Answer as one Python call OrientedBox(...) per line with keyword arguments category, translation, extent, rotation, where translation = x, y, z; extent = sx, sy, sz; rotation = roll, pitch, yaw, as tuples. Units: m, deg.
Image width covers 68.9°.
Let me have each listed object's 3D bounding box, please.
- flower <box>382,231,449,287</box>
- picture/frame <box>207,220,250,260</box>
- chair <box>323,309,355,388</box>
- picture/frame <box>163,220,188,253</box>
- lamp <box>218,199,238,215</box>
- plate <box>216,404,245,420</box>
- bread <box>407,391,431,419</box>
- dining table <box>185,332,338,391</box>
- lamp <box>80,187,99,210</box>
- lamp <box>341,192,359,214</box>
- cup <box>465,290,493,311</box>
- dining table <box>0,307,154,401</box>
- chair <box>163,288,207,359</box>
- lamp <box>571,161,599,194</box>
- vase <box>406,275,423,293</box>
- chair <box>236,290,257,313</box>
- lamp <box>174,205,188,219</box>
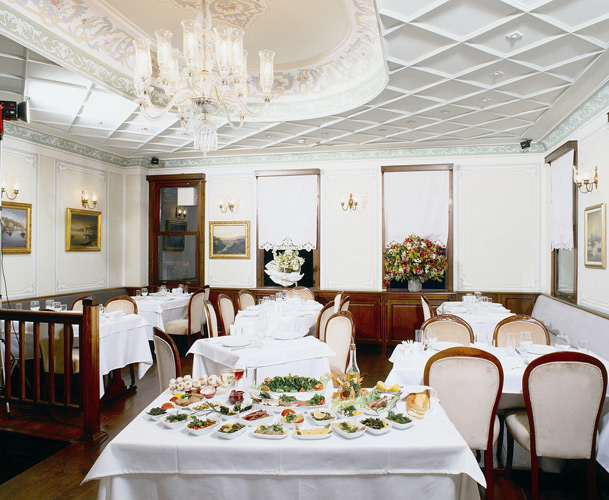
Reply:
OrientedBox(category="flower", translation=(1.940, 0.210, 8.052), extent=(0.890, 0.853, 0.970), rotation=(1, -5, -9))
OrientedBox(category="picture/frame", translation=(-1.493, -0.192, 8.847), extent=(0.718, 0.671, 0.052), rotation=(1, 2, 10))
OrientedBox(category="chair", translation=(0.403, 1.025, 4.833), extent=(0.410, 0.708, 0.416), rotation=(-3, -8, 10))
OrientedBox(category="picture/frame", translation=(-2.663, -0.292, 9.126), extent=(0.603, 0.900, 0.147), rotation=(1, -3, 8))
OrientedBox(category="lamp", translation=(-1.524, -0.849, 8.814), extent=(0.300, 0.231, 0.103), rotation=(0, -3, 15))
OrientedBox(category="plate", translation=(-0.458, 0.995, 2.723), extent=(0.108, 0.028, 0.090), rotation=(0, 4, 7))
OrientedBox(category="bread", translation=(0.713, 0.962, 2.762), extent=(0.103, 0.154, 0.056), rotation=(-4, -33, 8))
OrientedBox(category="dining table", translation=(-0.321, 1.005, 4.216), extent=(0.771, 0.320, 0.774), rotation=(3, -6, -32))
OrientedBox(category="lamp", translation=(-3.945, -0.916, 8.035), extent=(0.074, 0.377, 0.332), rotation=(1, 2, 16))
OrientedBox(category="lamp", translation=(0.845, -0.871, 8.321), extent=(0.345, 0.330, 0.122), rotation=(0, 2, 1))
OrientedBox(category="cup", translation=(2.502, 0.759, 6.399), extent=(0.277, 0.151, 0.391), rotation=(-1, 3, 7))
OrientedBox(category="dining table", translation=(-2.386, 1.068, 4.976), extent=(1.393, 0.734, 1.249), rotation=(-2, -7, 14))
OrientedBox(category="chair", translation=(-2.032, 1.157, 7.475), extent=(0.580, 1.025, 0.590), rotation=(1, -1, 24))
OrientedBox(category="lamp", translation=(3.680, -0.932, 5.882), extent=(0.301, 0.541, 0.328), rotation=(-2, 0, 4))
OrientedBox(category="vase", translation=(1.956, 0.622, 7.850), extent=(0.234, 0.244, 0.243), rotation=(-1, 0, -7))
OrientedBox(category="chair", translation=(-1.009, 0.839, 7.265), extent=(0.286, 0.503, 0.345), rotation=(2, -5, -26))
OrientedBox(category="lamp", translation=(-2.562, -0.745, 9.153), extent=(0.294, 0.391, 0.249), rotation=(0, 1, -31))
